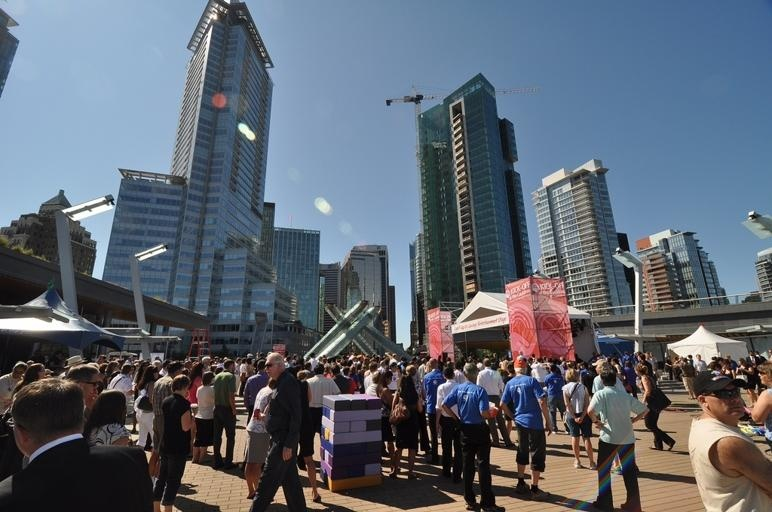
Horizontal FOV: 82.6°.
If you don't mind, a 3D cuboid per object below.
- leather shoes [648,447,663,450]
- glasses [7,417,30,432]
[{"bbox_3d":[7.292,5.201,11.914,0.121,0.076,0.299,22,-24,-38],"label":"leather shoes"},{"bbox_3d":[-4.551,2.090,5.476,0.173,0.177,0.115,11,-19,-38],"label":"glasses"}]
